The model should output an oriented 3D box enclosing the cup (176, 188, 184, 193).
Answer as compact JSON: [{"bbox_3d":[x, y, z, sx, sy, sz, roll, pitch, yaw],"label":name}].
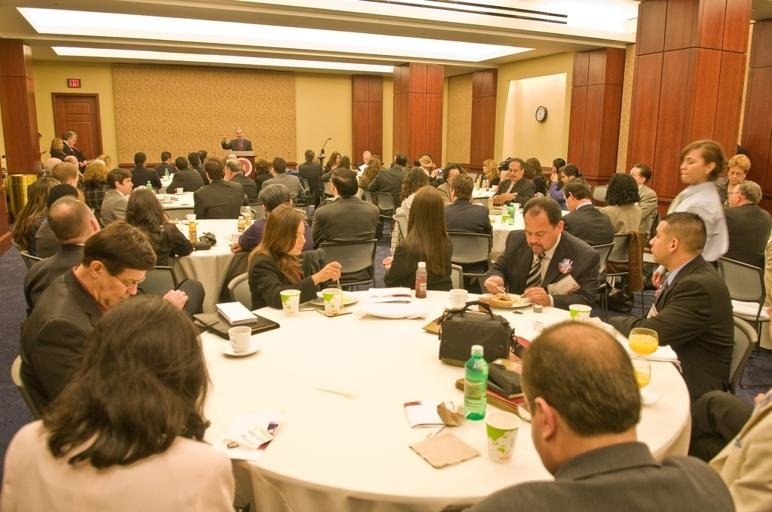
[{"bbox_3d":[-2.972,-0.928,7.854,0.056,0.059,0.084,1,-3,11],"label":"cup"}]

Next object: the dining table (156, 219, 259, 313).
[{"bbox_3d":[-1.527,0.021,4.870,0.725,0.461,0.826,4,40,0],"label":"dining table"}]

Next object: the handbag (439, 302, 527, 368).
[{"bbox_3d":[0.429,0.376,2.583,0.418,0.313,0.206,6,11,18],"label":"handbag"}]

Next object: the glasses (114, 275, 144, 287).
[{"bbox_3d":[-1.215,0.119,2.564,0.063,0.020,0.063,14,7,23],"label":"glasses"}]

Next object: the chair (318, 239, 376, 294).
[{"bbox_3d":[-0.302,0.042,4.863,0.375,0.645,0.471,-3,30,-11],"label":"chair"}]

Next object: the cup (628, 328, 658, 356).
[{"bbox_3d":[1.186,0.393,2.544,0.133,0.139,0.131,0,-2,0],"label":"cup"}]

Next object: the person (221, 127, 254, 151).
[{"bbox_3d":[-3.164,-2.412,11.517,0.539,0.450,1.331,-4,13,-16],"label":"person"}]

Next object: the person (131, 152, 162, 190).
[{"bbox_3d":[-3.738,-1.286,8.438,0.405,0.568,0.922,-4,13,-16],"label":"person"}]

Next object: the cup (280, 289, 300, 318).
[{"bbox_3d":[-0.522,0.259,2.993,0.126,0.100,0.124,-2,6,0],"label":"cup"}]

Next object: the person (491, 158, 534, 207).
[{"bbox_3d":[1.773,-1.025,8.052,0.452,0.506,0.978,-4,45,25],"label":"person"}]

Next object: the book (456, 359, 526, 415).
[{"bbox_3d":[0.460,0.540,2.256,0.209,0.062,0.203,-2,13,-23],"label":"book"}]

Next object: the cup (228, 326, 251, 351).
[{"bbox_3d":[-0.686,0.390,2.588,0.092,0.089,0.115,3,17,0],"label":"cup"}]

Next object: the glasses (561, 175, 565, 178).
[{"bbox_3d":[2.441,-1.081,7.529,0.044,0.039,0.012,2,18,11],"label":"glasses"}]

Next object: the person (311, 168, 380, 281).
[{"bbox_3d":[-0.404,-0.185,5.232,0.633,1.283,0.620,-10,28,-25],"label":"person"}]

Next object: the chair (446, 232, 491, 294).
[{"bbox_3d":[0.785,0.056,4.938,0.411,0.710,0.530,3,15,13],"label":"chair"}]

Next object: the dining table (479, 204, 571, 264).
[{"bbox_3d":[1.228,-0.225,5.704,0.664,0.264,0.739,-3,16,-9],"label":"dining table"}]

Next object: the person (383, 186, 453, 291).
[{"bbox_3d":[0.245,-0.100,3.838,0.464,0.720,0.205,-5,13,-23],"label":"person"}]

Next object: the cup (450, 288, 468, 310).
[{"bbox_3d":[0.407,0.245,3.036,0.101,0.075,0.102,-2,6,0],"label":"cup"}]

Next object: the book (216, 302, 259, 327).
[{"bbox_3d":[-0.785,0.302,2.896,0.142,0.033,0.138,-3,28,-43],"label":"book"}]

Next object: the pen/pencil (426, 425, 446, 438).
[{"bbox_3d":[0.200,0.682,2.123,0.030,0.010,0.099,11,16,42],"label":"pen/pencil"}]

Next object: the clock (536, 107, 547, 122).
[{"bbox_3d":[3.351,-3.036,11.837,0.102,0.353,0.385,-4,13,-15],"label":"clock"}]

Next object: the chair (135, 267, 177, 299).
[{"bbox_3d":[-1.441,0.167,3.414,0.160,0.176,0.227,2,-19,-9],"label":"chair"}]

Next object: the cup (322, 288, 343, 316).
[{"bbox_3d":[-0.302,0.259,3.034,0.131,0.106,0.125,-1,15,0],"label":"cup"}]
